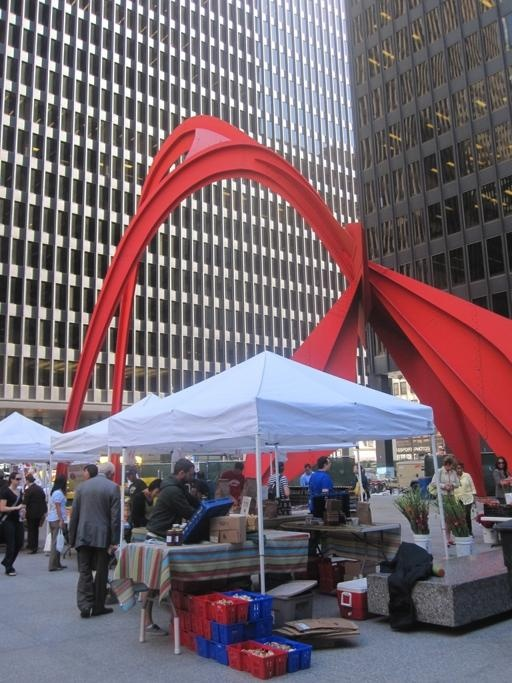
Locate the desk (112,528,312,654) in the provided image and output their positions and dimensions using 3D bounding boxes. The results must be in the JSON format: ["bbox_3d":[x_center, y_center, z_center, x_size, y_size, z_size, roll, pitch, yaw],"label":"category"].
[{"bbox_3d":[-0.309,2.405,5.661,1.750,0.525,1.001,8,-22,-26],"label":"desk"}]

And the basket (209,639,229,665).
[{"bbox_3d":[-0.313,2.584,4.674,0.152,0.160,0.225,7,-7,-34],"label":"basket"}]

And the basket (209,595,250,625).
[{"bbox_3d":[-0.252,2.282,4.833,0.215,0.149,0.311,7,-20,-22],"label":"basket"}]

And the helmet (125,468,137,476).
[{"bbox_3d":[-2.819,2.934,12.612,0.226,0.112,0.242,-6,-10,12],"label":"helmet"}]

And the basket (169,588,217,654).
[{"bbox_3d":[-0.507,2.597,5.242,0.385,0.423,0.613,9,-20,-31],"label":"basket"}]

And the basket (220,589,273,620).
[{"bbox_3d":[-0.059,2.368,5.068,0.282,0.186,0.411,12,-27,-30],"label":"basket"}]

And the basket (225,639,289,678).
[{"bbox_3d":[0.006,2.437,4.343,0.272,0.170,0.408,12,-24,-35],"label":"basket"}]

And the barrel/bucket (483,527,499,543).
[{"bbox_3d":[5.075,4.173,12.134,0.296,0.386,0.631,-3,1,22],"label":"barrel/bucket"}]

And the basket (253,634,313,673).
[{"bbox_3d":[0.218,2.468,4.503,0.252,0.177,0.389,10,-20,-35],"label":"basket"}]

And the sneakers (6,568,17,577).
[{"bbox_3d":[-4.507,4.231,10.313,0.085,0.104,0.233,10,-24,-35],"label":"sneakers"}]

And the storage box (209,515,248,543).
[{"bbox_3d":[-0.279,1.856,5.725,0.312,0.291,0.309,7,-15,-32],"label":"storage box"}]

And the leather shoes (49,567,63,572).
[{"bbox_3d":[-3.880,4.411,10.922,0.264,0.120,0.089,1,-13,-8],"label":"leather shoes"}]

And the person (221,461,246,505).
[{"bbox_3d":[-0.486,2.897,11.928,0.505,0.832,1.537,-3,1,-4],"label":"person"}]
